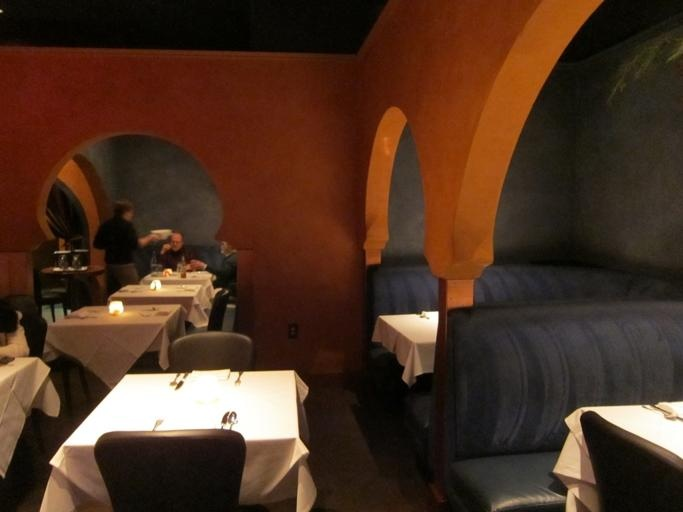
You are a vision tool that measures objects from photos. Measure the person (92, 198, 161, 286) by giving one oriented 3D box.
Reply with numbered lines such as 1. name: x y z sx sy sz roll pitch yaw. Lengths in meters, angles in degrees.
1. person: -3.051 0.104 7.955 0.688 1.791 0.605 7 15 8

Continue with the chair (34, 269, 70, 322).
1. chair: -4.272 0.615 8.127 0.418 0.755 0.368 2 7 -39

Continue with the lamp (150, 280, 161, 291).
1. lamp: -2.345 0.372 7.097 0.114 0.127 0.140 -1 -3 26

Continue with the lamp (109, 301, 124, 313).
1. lamp: -2.330 0.534 5.841 0.112 0.118 0.123 -7 14 -12
